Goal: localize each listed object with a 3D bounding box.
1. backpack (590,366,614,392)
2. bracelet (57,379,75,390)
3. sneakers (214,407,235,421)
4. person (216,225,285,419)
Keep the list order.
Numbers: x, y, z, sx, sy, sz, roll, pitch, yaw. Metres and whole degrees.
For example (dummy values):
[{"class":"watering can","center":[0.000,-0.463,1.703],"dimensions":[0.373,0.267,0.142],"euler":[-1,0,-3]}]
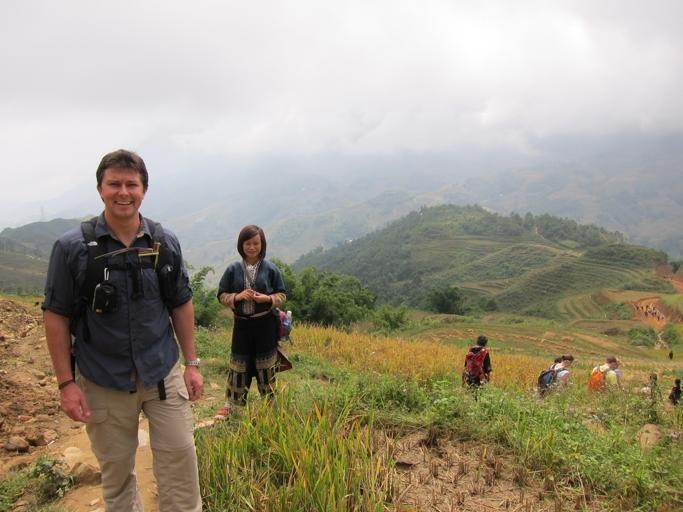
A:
[{"class":"backpack","center":[5.291,2.455,9.593],"dimensions":[0.489,0.506,0.621],"euler":[3,-5,24]},{"class":"bracelet","center":[-2.310,1.054,3.986],"dimensions":[0.115,0.071,0.135],"euler":[7,-5,-29]},{"class":"sneakers","center":[-1.460,1.938,5.928],"dimensions":[0.149,0.140,0.329],"euler":[-1,-11,6]},{"class":"person","center":[-1.177,0.799,6.072],"dimensions":[0.850,2.413,0.591],"euler":[5,-4,-7]}]
